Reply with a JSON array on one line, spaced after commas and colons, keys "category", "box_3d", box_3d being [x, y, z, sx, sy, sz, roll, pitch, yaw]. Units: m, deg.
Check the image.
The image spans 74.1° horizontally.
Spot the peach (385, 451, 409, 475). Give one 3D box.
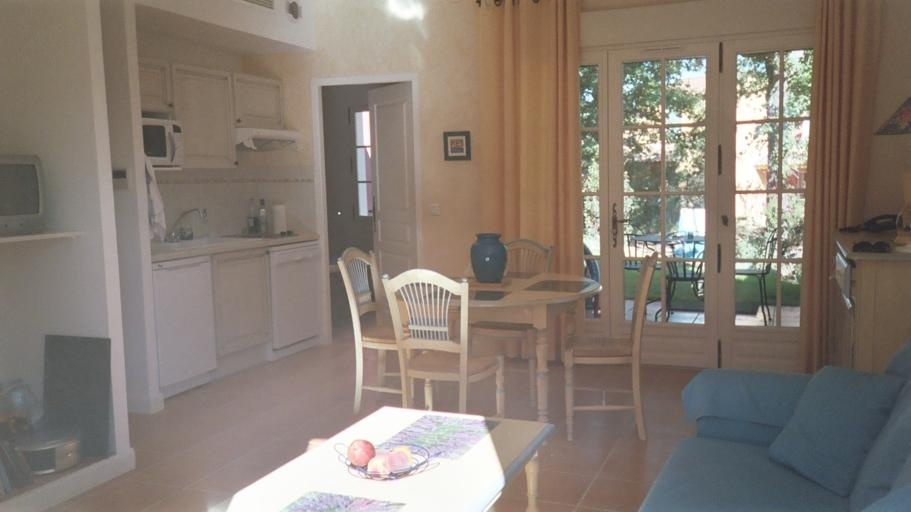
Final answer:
[{"category": "peach", "box_3d": [-0.302, 1.067, 3.141, 0.114, 0.066, 0.110, 3, 15, 24]}]

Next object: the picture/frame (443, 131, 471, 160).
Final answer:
[{"category": "picture/frame", "box_3d": [0.024, -1.215, 6.547, 0.350, 0.315, 0.027, 0, 6, 8]}]

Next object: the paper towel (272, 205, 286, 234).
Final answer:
[{"category": "paper towel", "box_3d": [-2.034, -0.430, 6.955, 0.173, 0.328, 0.303, -5, 9, -14]}]

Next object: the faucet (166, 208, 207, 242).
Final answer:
[{"category": "faucet", "box_3d": [-2.890, -0.349, 6.564, 0.159, 0.337, 0.475, 2, 9, 27]}]

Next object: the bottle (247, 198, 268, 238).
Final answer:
[{"category": "bottle", "box_3d": [-2.310, -0.462, 7.033, 0.256, 0.415, 0.448, -5, 9, -17]}]

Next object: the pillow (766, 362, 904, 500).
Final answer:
[{"category": "pillow", "box_3d": [2.170, 0.984, 3.465, 0.533, 0.609, 0.438, -7, 10, -29]}]

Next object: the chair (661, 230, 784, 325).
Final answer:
[{"category": "chair", "box_3d": [2.861, 0.208, 6.648, 1.039, 1.331, 0.946, 3, 1, 17]}]

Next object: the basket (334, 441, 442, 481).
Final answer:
[{"category": "basket", "box_3d": [-0.377, 1.091, 3.167, 0.301, 0.081, 0.294, 0, 0, 18]}]

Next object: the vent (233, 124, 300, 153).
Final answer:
[{"category": "vent", "box_3d": [-2.100, -1.322, 6.757, 0.728, 0.244, 0.378, -6, 9, -25]}]

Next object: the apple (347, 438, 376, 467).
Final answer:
[{"category": "apple", "box_3d": [-0.498, 1.023, 3.153, 0.146, 0.135, 0.071, -5, -13, -8]}]
